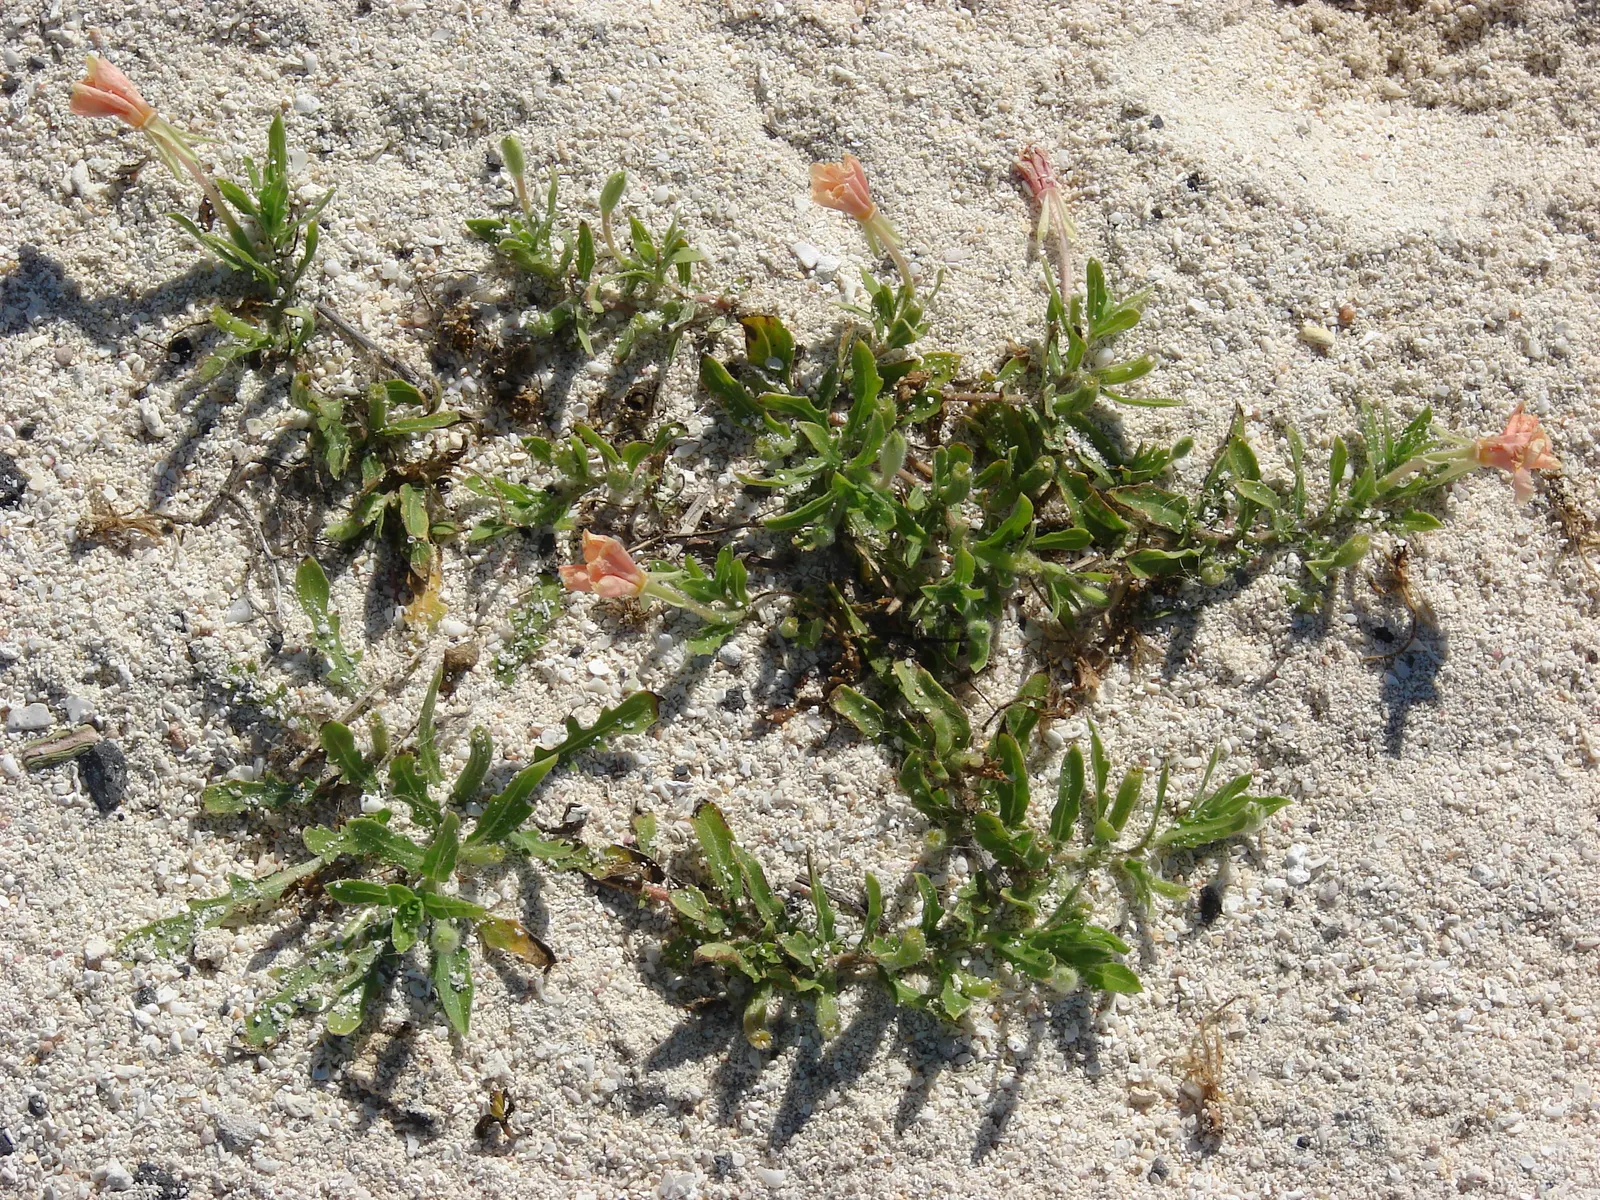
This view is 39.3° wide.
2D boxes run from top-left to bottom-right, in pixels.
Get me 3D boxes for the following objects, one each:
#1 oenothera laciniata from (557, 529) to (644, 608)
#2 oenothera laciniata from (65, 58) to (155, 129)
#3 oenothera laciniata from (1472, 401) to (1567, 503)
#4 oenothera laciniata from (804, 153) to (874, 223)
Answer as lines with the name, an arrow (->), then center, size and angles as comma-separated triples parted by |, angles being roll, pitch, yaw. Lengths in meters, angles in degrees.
oenothera laciniata -> -0.486, -0.082, 5.531 | 0.110, 0.179, 0.170 | 0, 63, 40
oenothera laciniata -> -1.759, -1.284, 5.754 | 0.215, 0.102, 0.160 | 31, 79, -5
oenothera laciniata -> 1.864, -0.395, 5.823 | 0.167, 0.160, 0.191 | -25, 67, -21
oenothera laciniata -> 0.102, -1.037, 5.753 | 0.136, 0.177, 0.172 | 16, 33, -10
